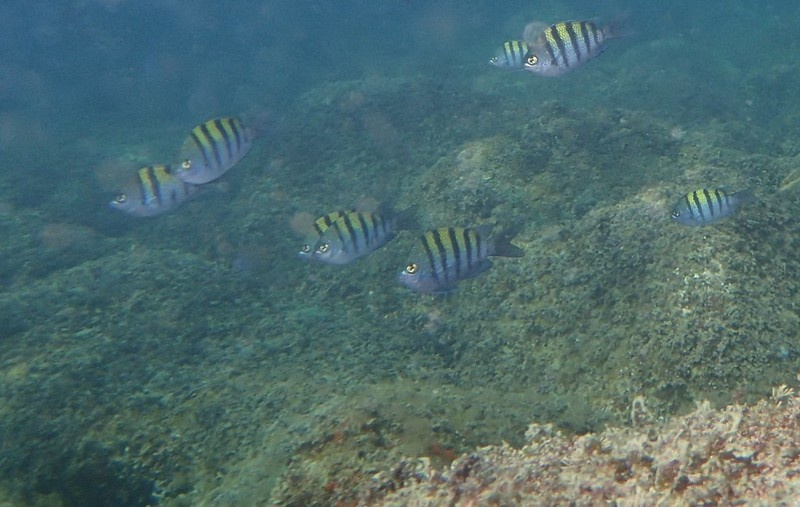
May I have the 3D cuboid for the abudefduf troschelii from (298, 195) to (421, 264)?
[{"bbox_3d":[-0.660,-0.335,10.336,1.759,0.724,0.740,-14,40,-7],"label":"abudefduf troschelii"}]
